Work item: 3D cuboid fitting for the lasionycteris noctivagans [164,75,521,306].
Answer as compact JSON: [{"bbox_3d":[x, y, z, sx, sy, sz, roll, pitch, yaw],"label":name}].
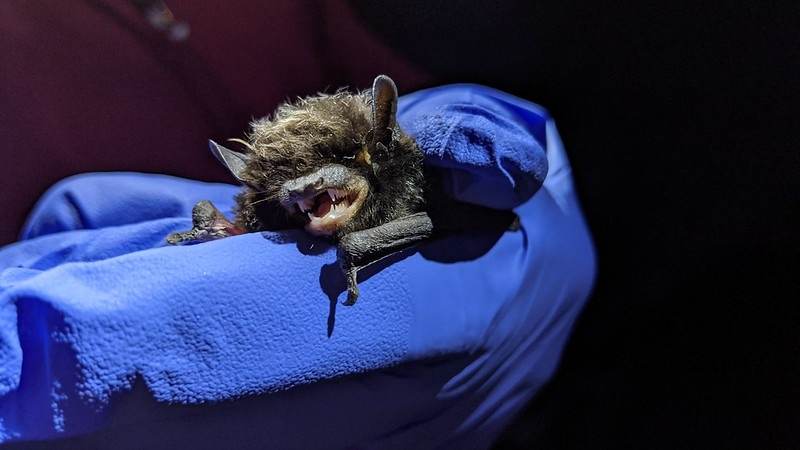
[{"bbox_3d":[-0.098,-0.091,1.553,0.575,0.355,0.316,15,36,18],"label":"lasionycteris noctivagans"}]
